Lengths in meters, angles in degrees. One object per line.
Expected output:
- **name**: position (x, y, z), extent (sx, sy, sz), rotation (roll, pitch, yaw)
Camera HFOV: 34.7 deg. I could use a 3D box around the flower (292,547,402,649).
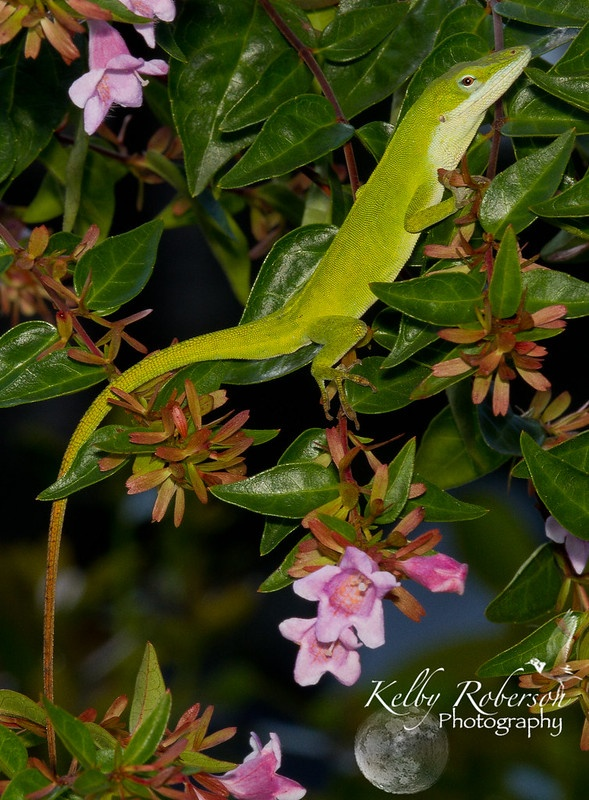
- **flower**: position (0.045, 0.151, 0.701), extent (0.074, 0.072, 0.063), rotation (-10, 52, 16)
